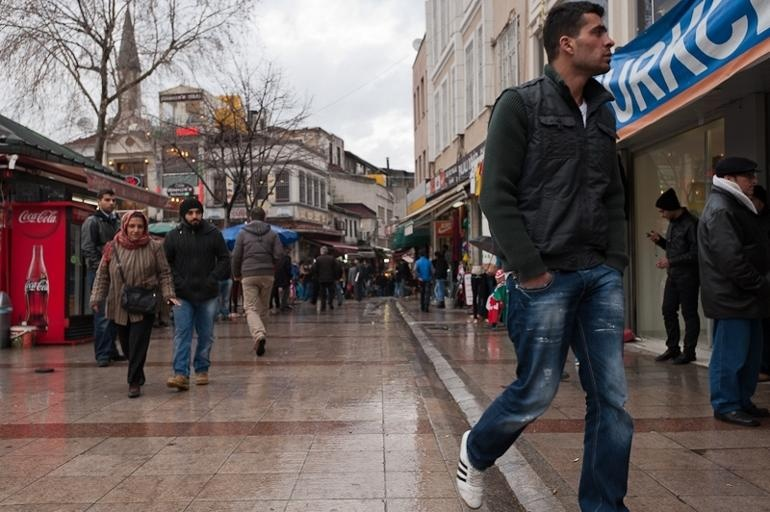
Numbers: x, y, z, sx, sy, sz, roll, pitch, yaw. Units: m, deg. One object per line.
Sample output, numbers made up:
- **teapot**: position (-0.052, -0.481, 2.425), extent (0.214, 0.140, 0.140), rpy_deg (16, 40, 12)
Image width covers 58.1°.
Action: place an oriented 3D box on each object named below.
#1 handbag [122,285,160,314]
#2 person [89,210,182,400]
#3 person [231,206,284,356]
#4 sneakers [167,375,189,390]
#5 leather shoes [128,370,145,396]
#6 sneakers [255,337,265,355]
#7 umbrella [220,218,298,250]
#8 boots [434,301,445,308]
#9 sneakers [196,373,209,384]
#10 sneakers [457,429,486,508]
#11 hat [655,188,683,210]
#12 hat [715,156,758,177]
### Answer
- **handbag**: position (-2.774, 0.504, 7.888), extent (0.423, 0.338, 0.232), rpy_deg (1, -5, -31)
- **person**: position (-2.807, 0.533, 7.985), extent (0.770, 2.106, 0.453), rpy_deg (0, -5, -17)
- **person**: position (-2.072, 0.326, 11.195), extent (0.808, 2.454, 1.552), rpy_deg (-1, -4, -5)
- **sneakers**: position (-2.388, 1.464, 8.009), extent (0.230, 0.178, 0.226), rpy_deg (0, -4, -10)
- **leather shoes**: position (-2.786, 1.431, 7.761), extent (0.118, 0.247, 0.362), rpy_deg (4, 10, -2)
- **sneakers**: position (-1.864, 1.346, 10.414), extent (0.134, 0.314, 0.140), rpy_deg (1, 29, -32)
- **umbrella**: position (-3.700, -0.608, 20.813), extent (1.561, 0.538, 1.633), rpy_deg (-3, 7, 7)
- **boots**: position (1.811, 1.541, 22.123), extent (0.221, 0.214, 0.224), rpy_deg (-1, 1, 0)
- **sneakers**: position (-2.179, 1.471, 8.309), extent (0.154, 0.137, 0.179), rpy_deg (1, -5, -28)
- **sneakers**: position (0.578, 1.512, 4.932), extent (0.178, 0.544, 0.213), rpy_deg (-4, -4, -18)
- **hat**: position (3.853, -0.775, 9.435), extent (0.342, 0.324, 0.265), rpy_deg (4, 5, 16)
- **hat**: position (3.405, -0.864, 6.663), extent (0.276, 0.106, 0.247), rpy_deg (-6, 9, -14)
